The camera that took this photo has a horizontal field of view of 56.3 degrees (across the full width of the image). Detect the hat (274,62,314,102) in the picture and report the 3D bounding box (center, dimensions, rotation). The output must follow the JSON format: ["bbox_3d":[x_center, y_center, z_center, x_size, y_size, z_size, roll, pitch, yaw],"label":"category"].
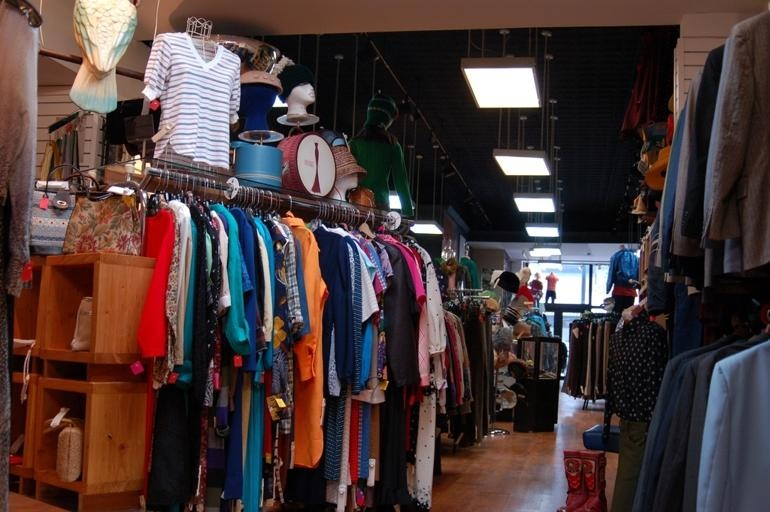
[{"bbox_3d":[-0.717,-1.388,5.755,0.282,0.265,0.223,-6,0,11],"label":"hat"}]

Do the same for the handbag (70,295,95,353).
[{"bbox_3d":[-1.751,0.396,4.158,0.134,0.372,0.279,-1,-5,-10],"label":"handbag"}]

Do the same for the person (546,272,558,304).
[{"bbox_3d":[4.969,0.898,21.551,0.315,0.933,1.242,1,-6,13],"label":"person"}]

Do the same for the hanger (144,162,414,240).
[{"bbox_3d":[-0.768,-0.368,4.911,1.755,0.292,0.240,17,-5,-32],"label":"hanger"}]

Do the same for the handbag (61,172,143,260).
[{"bbox_3d":[-1.609,-0.171,4.413,0.589,0.656,0.349,1,-6,4],"label":"handbag"}]
